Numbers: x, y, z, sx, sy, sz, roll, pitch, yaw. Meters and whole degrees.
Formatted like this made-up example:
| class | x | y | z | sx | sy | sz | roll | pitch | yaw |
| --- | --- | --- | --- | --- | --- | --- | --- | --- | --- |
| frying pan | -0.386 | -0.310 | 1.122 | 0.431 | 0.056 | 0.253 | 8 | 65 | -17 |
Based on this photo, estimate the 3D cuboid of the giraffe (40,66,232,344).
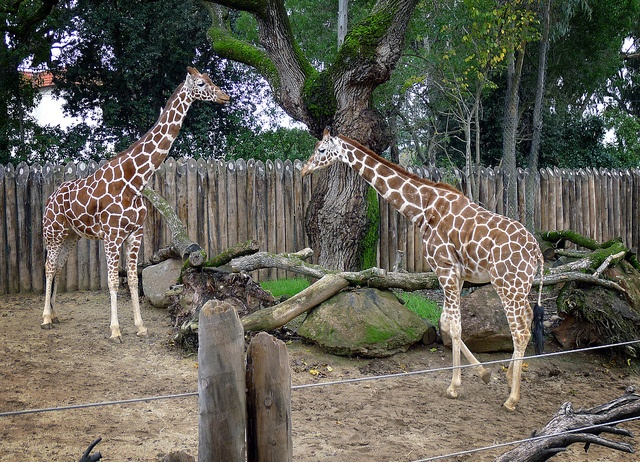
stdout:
| class | x | y | z | sx | sy | sz | roll | pitch | yaw |
| --- | --- | --- | --- | --- | --- | --- | --- | --- | --- |
| giraffe | -3.666 | -0.593 | 13.466 | 2.796 | 4.910 | 1.069 | -1 | 1 | 9 |
